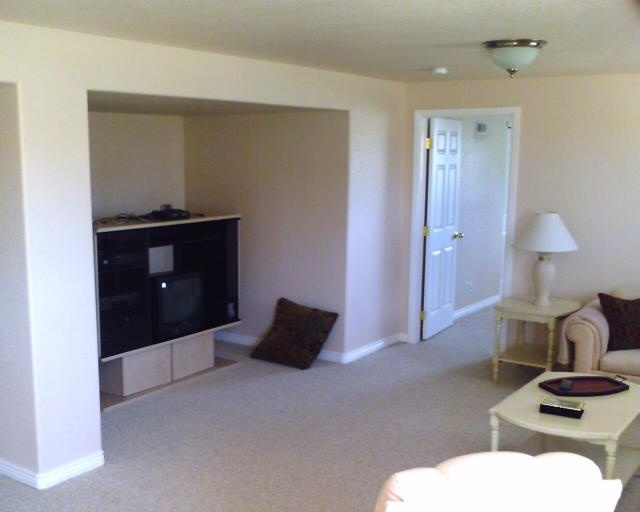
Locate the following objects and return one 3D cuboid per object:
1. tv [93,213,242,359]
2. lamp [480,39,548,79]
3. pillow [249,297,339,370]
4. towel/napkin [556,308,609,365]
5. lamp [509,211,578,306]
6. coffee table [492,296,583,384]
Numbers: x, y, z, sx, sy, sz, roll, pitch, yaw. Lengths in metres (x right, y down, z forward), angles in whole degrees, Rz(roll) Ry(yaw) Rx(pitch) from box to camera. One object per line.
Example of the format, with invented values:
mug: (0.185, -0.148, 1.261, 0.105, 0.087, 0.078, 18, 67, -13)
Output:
tv: (-1.624, 0.225, 5.221, 1.722, 1.103, 0.806, -8, -7, 21)
lamp: (1.210, -1.244, 3.561, 0.379, 0.209, 0.350, -1, 16, -6)
pillow: (-0.249, 0.767, 5.480, 0.723, 0.665, 0.170, 19, -7, 40)
towel/napkin: (2.096, 0.617, 4.614, 0.405, 0.423, 0.463, 3, 8, 23)
lamp: (2.034, 0.024, 5.030, 0.553, 0.821, 0.400, -6, 13, -28)
coffee table: (1.958, 0.808, 5.119, 0.725, 0.689, 0.655, 1, 2, 38)
